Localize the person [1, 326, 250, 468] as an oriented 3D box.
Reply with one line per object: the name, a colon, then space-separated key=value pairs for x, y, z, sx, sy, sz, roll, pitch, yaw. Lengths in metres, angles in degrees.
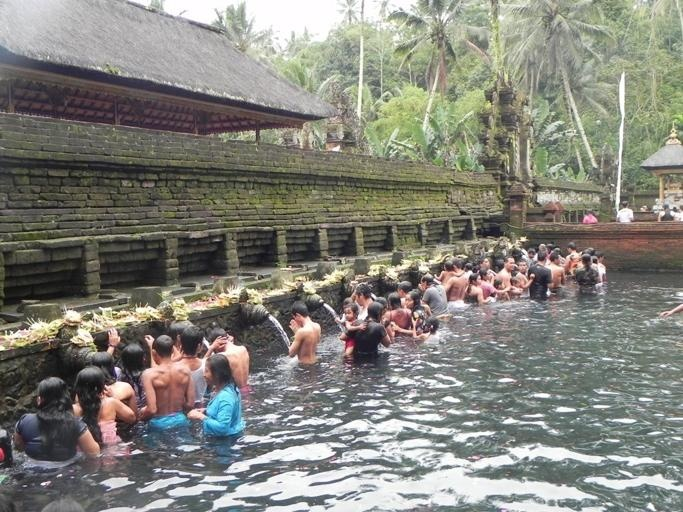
person: x=-2.841 y=1.768 z=7.262 sx=1.950 sy=1.045 sz=0.514 roll=-10 pitch=15 yaw=-42

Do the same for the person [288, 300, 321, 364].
person: x=-0.648 y=1.268 z=10.127 sx=0.404 sy=1.131 sz=0.564 roll=6 pitch=12 yaw=28
